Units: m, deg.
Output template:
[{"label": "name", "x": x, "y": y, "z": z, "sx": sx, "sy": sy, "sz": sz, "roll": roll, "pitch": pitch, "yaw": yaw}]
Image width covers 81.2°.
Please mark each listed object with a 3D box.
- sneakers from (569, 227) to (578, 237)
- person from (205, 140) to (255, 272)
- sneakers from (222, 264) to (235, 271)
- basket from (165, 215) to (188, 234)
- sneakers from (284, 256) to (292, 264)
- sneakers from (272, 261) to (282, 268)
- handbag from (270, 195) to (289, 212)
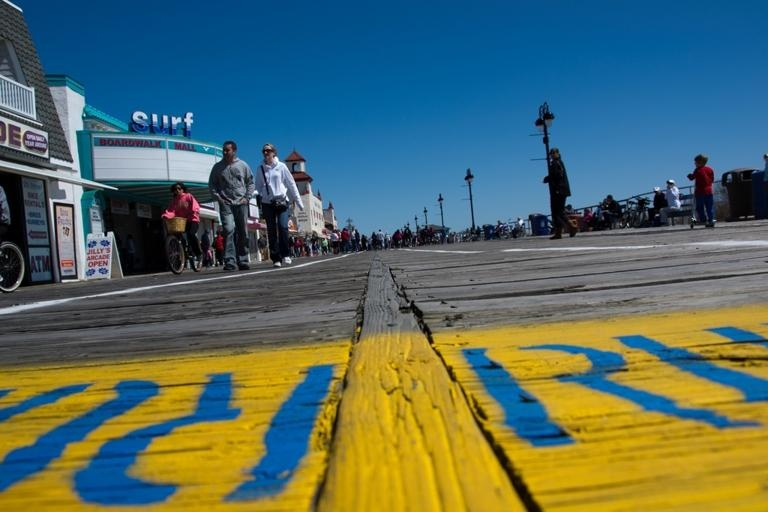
[{"label": "sneakers", "x": 6.676, "y": -0.403, "z": 15.836, "sx": 0.142, "sy": 0.411, "sz": 0.278, "roll": -27, "pitch": 35, "yaw": -2}, {"label": "person", "x": -3.290, "y": -0.721, "z": 9.813, "sx": 0.924, "sy": 2.411, "sz": 0.590, "roll": -5, "pitch": 1, "yaw": -18}, {"label": "sneakers", "x": -3.313, "y": 0.408, "z": 9.648, "sx": 0.117, "sy": 0.114, "sz": 0.189, "roll": -4, "pitch": -14, "yaw": -1}, {"label": "basket", "x": -5.359, "y": -0.438, "z": 11.522, "sx": 0.508, "sy": 0.358, "sz": 0.418, "roll": -4, "pitch": 1, "yaw": -10}, {"label": "sneakers", "x": -2.390, "y": 0.312, "z": 11.167, "sx": 0.138, "sy": 0.156, "sz": 0.411, "roll": -4, "pitch": -2, "yaw": -19}, {"label": "sneakers", "x": -2.295, "y": 0.352, "z": 9.643, "sx": 0.125, "sy": 0.121, "sz": 0.313, "roll": -1, "pitch": -7, "yaw": -8}, {"label": "handbag", "x": -2.301, "y": -0.797, "z": 9.906, "sx": 0.323, "sy": 0.250, "sz": 0.138, "roll": 9, "pitch": -3, "yaw": -36}]
